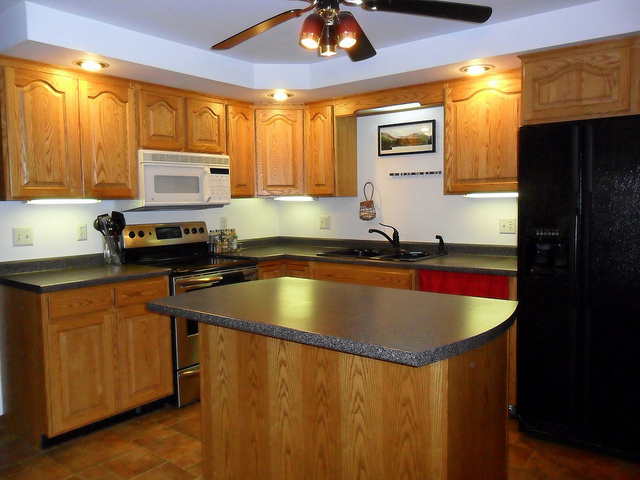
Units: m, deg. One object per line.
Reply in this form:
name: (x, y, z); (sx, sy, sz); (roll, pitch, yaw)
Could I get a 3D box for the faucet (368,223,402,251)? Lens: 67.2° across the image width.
faucet: (0.605, -0.013, 4.403); (0.300, 0.220, 0.301); (2, 9, 30)

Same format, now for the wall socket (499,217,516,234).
wall socket: (1.537, -0.115, 3.931); (0.123, 0.123, 0.013); (6, 11, 37)

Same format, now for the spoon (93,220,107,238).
spoon: (-1.738, -0.094, 3.803); (0.079, 0.142, 0.058); (-18, 9, 23)

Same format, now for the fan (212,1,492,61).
fan: (0.144, -1.060, 2.397); (1.289, 0.269, 0.486); (-3, 8, -6)

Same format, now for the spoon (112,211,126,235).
spoon: (-1.623, -0.149, 3.860); (0.081, 0.245, 0.078); (-5, -8, -22)

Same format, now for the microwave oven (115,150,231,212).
microwave oven: (-1.250, -0.459, 4.184); (0.832, 0.483, 0.517); (-4, 0, -34)

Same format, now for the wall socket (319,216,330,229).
wall socket: (0.048, -0.178, 4.942); (0.134, 0.134, 0.014); (-1, -4, 37)

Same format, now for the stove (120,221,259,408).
stove: (-1.079, 0.534, 4.123); (0.831, 1.327, 0.950); (5, 8, 36)

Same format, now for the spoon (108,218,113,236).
spoon: (-1.637, -0.096, 3.744); (0.030, 0.134, 0.036); (4, 5, 43)
